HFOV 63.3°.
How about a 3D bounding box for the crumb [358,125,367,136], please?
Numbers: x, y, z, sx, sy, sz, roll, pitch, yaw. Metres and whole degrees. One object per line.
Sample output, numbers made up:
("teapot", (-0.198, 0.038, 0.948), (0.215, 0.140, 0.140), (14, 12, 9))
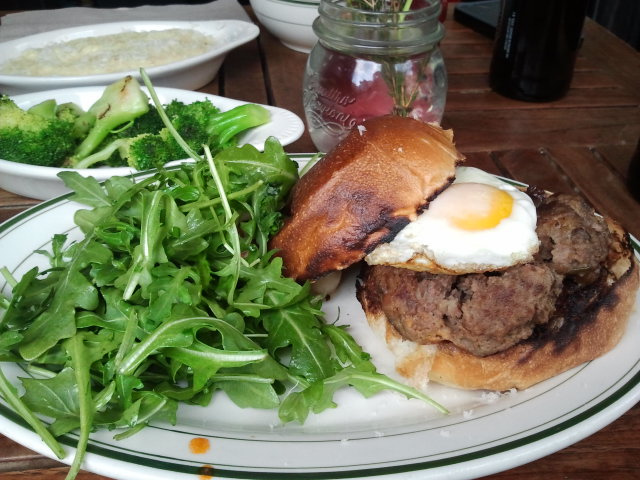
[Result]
("crumb", (0.107, -0.272, 1.301), (0.026, 0.009, 0.020), (-13, 64, 25))

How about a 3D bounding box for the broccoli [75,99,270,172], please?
("broccoli", (-0.487, -0.361, 1.886), (0.631, 0.325, 0.154), (-21, 89, 3))

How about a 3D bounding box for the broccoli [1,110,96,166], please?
("broccoli", (-0.917, -0.321, 1.775), (0.233, 0.111, 0.175), (-35, 26, -7))

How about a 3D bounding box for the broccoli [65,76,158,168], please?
("broccoli", (-0.792, -0.469, 2.040), (0.218, 0.438, 0.075), (-16, 90, -14))

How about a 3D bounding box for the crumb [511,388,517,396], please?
("crumb", (0.436, 0.341, 1.166), (0.011, 0.005, 0.014), (19, 57, 35))

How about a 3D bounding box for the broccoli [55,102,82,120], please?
("broccoli", (-0.919, -0.470, 1.895), (0.094, 0.028, 0.084), (4, 28, -3))

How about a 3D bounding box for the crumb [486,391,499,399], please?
("crumb", (0.392, 0.349, 1.171), (0.018, 0.003, 0.014), (-3, 20, 2))

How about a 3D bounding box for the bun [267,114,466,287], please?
("bun", (0.159, -0.140, 1.392), (0.535, 0.149, 0.433), (-31, 30, 21))

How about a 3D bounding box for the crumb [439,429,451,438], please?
("crumb", (0.259, 0.399, 1.072), (0.023, 0.008, 0.017), (6, 52, 11))
